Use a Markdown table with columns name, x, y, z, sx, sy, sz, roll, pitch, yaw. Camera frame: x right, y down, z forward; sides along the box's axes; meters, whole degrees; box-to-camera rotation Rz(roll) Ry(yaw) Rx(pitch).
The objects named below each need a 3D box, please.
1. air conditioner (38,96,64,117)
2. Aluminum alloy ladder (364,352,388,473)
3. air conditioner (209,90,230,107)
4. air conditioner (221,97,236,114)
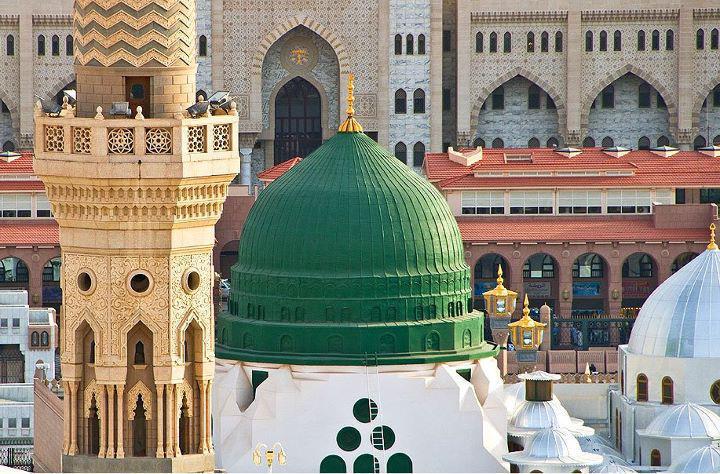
| name | x | y | z | sx | sy | sz | roll | pitch | yaw |
| --- | --- | --- | --- | --- | --- | --- | --- | --- | --- |
| air conditioner | -6.742 | -2.835 | 49.700 | 0.535 | 0.430 | 0.634 | 0 | -3 | -11 |
| Aluminum alloy ladder | 0.505 | 4.794 | 59.859 | 0.523 | 2.868 | 0.228 | 0 | -3 | -4 |
| air conditioner | -3.039 | -3.051 | 50.098 | 0.261 | 0.140 | 0.468 | 8 | 28 | 17 |
| air conditioner | -2.836 | -2.876 | 50.057 | 0.330 | 0.405 | 0.827 | 0 | -3 | -5 |
